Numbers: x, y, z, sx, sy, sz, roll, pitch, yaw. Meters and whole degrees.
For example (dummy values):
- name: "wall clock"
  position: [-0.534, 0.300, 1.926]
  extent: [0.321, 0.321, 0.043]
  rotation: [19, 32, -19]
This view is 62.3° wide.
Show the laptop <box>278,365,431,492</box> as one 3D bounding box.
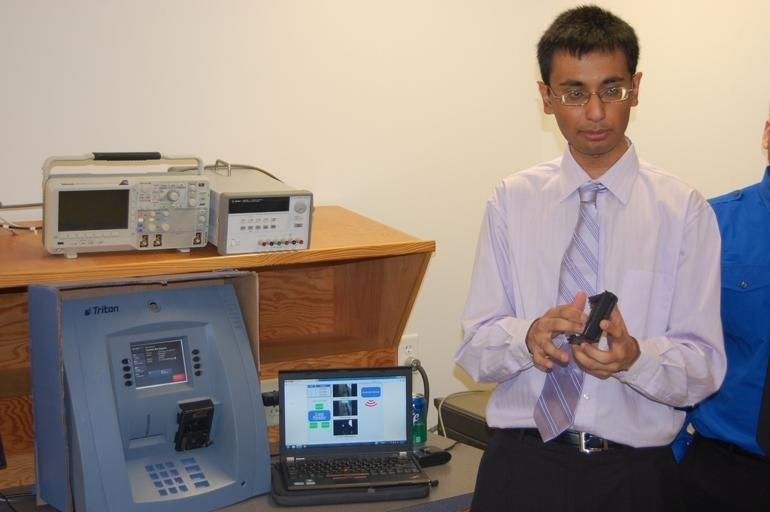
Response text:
- name: "laptop"
  position: [-0.127, 0.566, 2.145]
  extent: [0.522, 0.345, 0.343]
  rotation: [-1, 5, -11]

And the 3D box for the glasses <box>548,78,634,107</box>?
- name: "glasses"
  position: [0.570, -0.440, 1.754]
  extent: [0.212, 0.060, 0.081]
  rotation: [-2, 5, 18]
